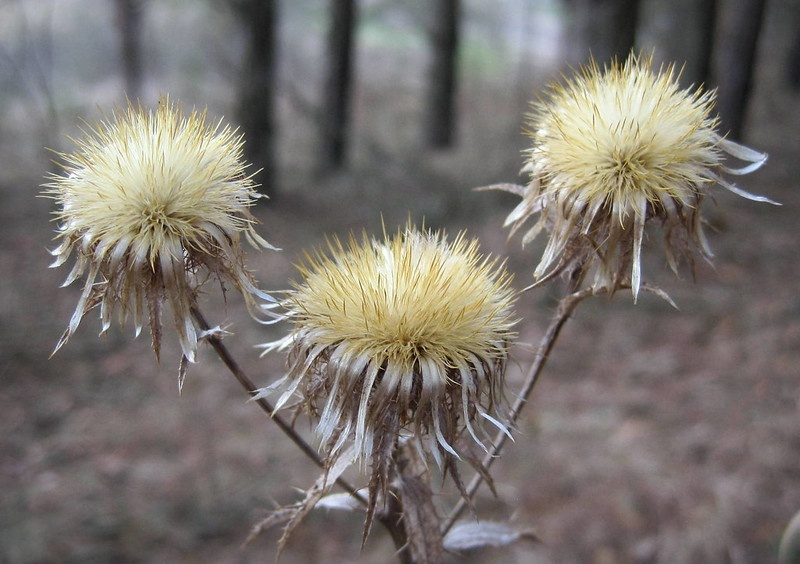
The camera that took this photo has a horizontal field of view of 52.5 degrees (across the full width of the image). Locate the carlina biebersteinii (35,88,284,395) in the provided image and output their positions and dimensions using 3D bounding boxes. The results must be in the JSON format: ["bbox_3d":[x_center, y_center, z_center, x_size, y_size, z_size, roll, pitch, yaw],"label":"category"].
[{"bbox_3d":[-0.813,-0.321,2.747,0.603,0.460,0.560,8,5,0],"label":"carlina biebersteinii"}]

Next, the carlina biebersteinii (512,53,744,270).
[{"bbox_3d":[0.711,-0.410,2.850,0.739,0.565,0.672,-20,61,4],"label":"carlina biebersteinii"}]
